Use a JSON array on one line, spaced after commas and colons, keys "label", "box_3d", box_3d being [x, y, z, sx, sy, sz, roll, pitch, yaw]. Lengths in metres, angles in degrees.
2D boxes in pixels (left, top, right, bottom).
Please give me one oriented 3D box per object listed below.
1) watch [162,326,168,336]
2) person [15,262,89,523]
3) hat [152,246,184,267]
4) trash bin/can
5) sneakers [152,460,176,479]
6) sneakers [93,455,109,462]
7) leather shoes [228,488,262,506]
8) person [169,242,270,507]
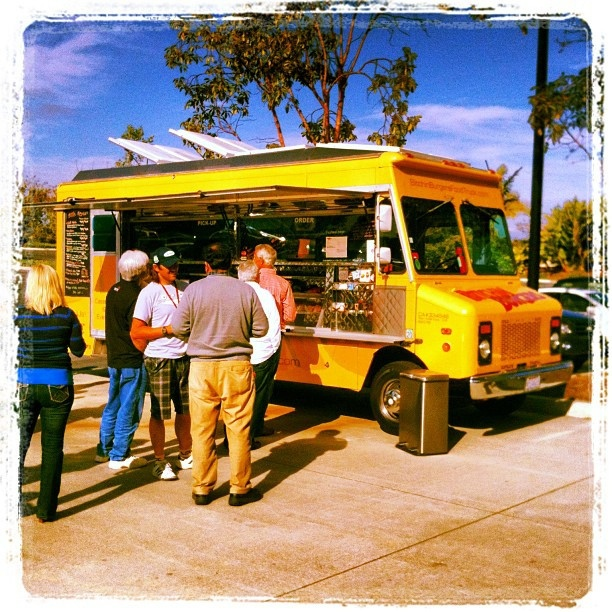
[{"label": "watch", "box_3d": [-1.192, 0.213, 5.566, 0.028, 0.077, 0.077, -10, 42, -36]}, {"label": "person", "box_3d": [-1.893, 0.644, 4.867, 0.464, 1.896, 0.309, 0, 3, -19]}, {"label": "hat", "box_3d": [-1.231, -0.443, 5.854, 0.225, 0.127, 0.160, 0, 8, 33]}, {"label": "trash bin/can", "box_3d": [1.209, 1.119, 6.785, 0.504, 0.872, 0.376, 1, 3, 11]}, {"label": "sneakers", "box_3d": [-1.269, 1.484, 5.910, 0.107, 0.118, 0.272, 0, -3, -37]}, {"label": "sneakers", "box_3d": [-1.980, 1.483, 6.372, 0.141, 0.060, 0.049, -1, -3, 41]}, {"label": "leather shoes", "box_3d": [-0.485, 1.560, 5.307, 0.105, 0.110, 0.271, 7, 6, 42]}, {"label": "person", "box_3d": [-0.693, 0.685, 5.247, 0.750, 1.843, 0.245, 1, 3, -4]}]
